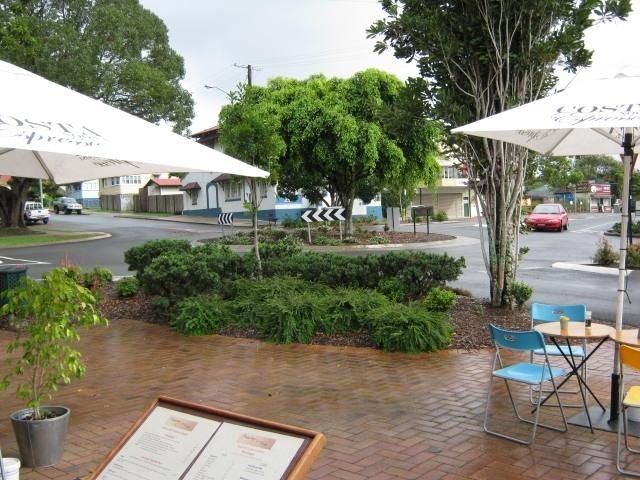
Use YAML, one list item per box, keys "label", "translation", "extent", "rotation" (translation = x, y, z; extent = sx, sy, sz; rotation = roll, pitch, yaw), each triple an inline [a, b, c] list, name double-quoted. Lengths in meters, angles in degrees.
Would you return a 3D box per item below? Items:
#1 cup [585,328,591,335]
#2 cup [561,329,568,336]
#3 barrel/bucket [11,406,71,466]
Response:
- label: "cup"
  translation: [2.876, 1.016, 5.126]
  extent: [0.068, 0.074, 0.132]
  rotation: [-2, -4, 23]
- label: "cup"
  translation: [2.589, 1.016, 5.057]
  extent: [0.066, 0.113, 0.069]
  rotation: [1, -5, 0]
- label: "barrel/bucket"
  translation: [-2.502, 1.813, 4.456]
  extent: [0.466, 0.435, 0.531]
  rotation: [1, -6, 3]
